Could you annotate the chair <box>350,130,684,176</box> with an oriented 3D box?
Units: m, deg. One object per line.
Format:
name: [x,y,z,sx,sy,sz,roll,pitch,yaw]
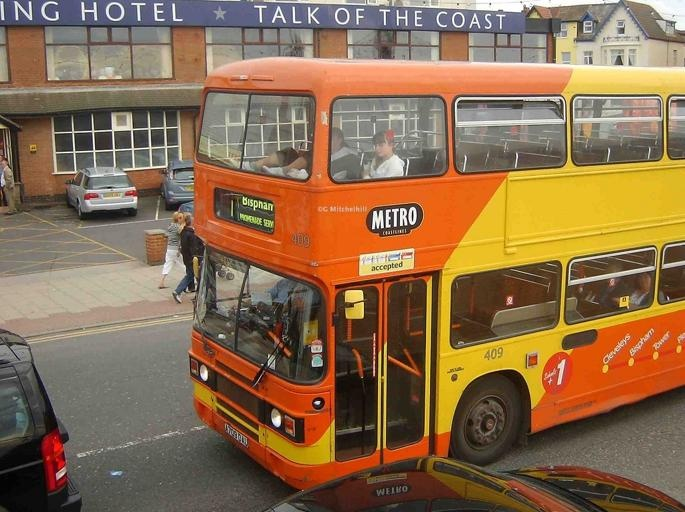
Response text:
chair: [2.178,-1.343,8.333,4.206,0.549,0.493,-6,9,-26]

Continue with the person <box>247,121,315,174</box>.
person: [-0.689,-1.265,7.526,0.277,0.604,1.045,-8,15,-32]

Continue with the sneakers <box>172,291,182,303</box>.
sneakers: [-4.190,1.112,16.182,0.132,0.415,0.175,9,48,25]

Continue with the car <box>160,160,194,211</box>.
car: [-7.922,-3.611,29.894,1.797,1.751,3.818,-2,24,-16]

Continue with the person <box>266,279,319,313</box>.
person: [-0.619,0.459,7.590,0.833,0.337,0.086,11,16,38]

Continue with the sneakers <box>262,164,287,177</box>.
sneakers: [-0.840,-1.025,7.665,0.334,0.150,0.123,15,15,24]

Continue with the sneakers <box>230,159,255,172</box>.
sneakers: [-1.255,-1.145,8.098,0.388,0.164,0.145,11,8,31]

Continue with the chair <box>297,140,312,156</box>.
chair: [-0.422,-1.236,7.300,0.163,0.152,0.160,-14,21,-42]

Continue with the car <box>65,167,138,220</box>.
car: [-10.796,-2.759,28.210,3.378,2.149,2.122,11,17,39]
